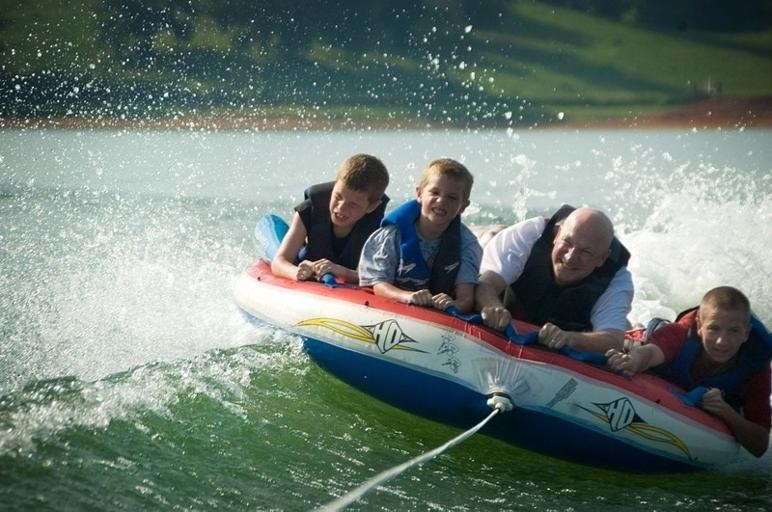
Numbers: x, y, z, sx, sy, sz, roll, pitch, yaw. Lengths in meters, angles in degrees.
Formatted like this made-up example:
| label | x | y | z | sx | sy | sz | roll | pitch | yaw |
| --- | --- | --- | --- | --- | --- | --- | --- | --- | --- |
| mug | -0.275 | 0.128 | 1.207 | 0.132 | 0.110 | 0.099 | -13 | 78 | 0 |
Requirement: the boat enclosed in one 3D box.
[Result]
| label | x | y | z | sx | sy | sz | roll | pitch | yaw |
| --- | --- | --- | --- | --- | --- | --- | --- | --- | --- |
| boat | 0.874 | 1.108 | 8.217 | 3.172 | 0.421 | 1.912 | 19 | -5 | 14 |

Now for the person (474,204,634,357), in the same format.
| label | x | y | z | sx | sy | sz | roll | pitch | yaw |
| --- | --- | --- | --- | --- | --- | --- | --- | --- | --- |
| person | 1.629 | 0.161 | 8.537 | 1.301 | 0.845 | 1.596 | 14 | 20 | 14 |
